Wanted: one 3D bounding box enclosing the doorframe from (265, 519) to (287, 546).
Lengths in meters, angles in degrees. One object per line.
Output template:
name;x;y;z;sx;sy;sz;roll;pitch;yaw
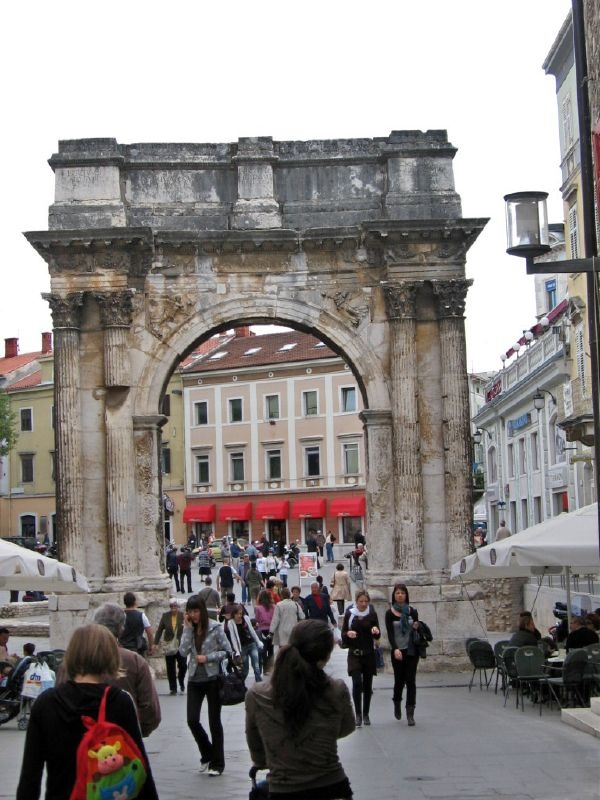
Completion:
doorframe;-1.086;6.871;64.834;1.071;2.041;1.100;-1;-5;0

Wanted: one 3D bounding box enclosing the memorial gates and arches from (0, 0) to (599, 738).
memorial gates and arches;0.631;0.583;24.789;16.371;15.800;3.477;-1;-6;0

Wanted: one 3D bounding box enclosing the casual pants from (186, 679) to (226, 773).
casual pants;-0.841;2.973;11.432;0.325;0.837;0.611;-1;-11;-4

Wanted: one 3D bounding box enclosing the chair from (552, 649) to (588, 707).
chair;3.390;3.444;15.506;0.458;0.706;1.401;-4;-11;10

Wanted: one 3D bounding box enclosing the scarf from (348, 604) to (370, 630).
scarf;0.727;2.536;14.756;0.220;0.275;0.248;0;-21;1

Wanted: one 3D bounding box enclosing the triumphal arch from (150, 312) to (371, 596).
triumphal arch;-0.994;2.420;68.050;15.379;15.927;10.151;-2;-6;18

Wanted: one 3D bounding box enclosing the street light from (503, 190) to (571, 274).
street light;1.745;-1.245;9.449;0.324;0.689;0.293;-4;-11;10
